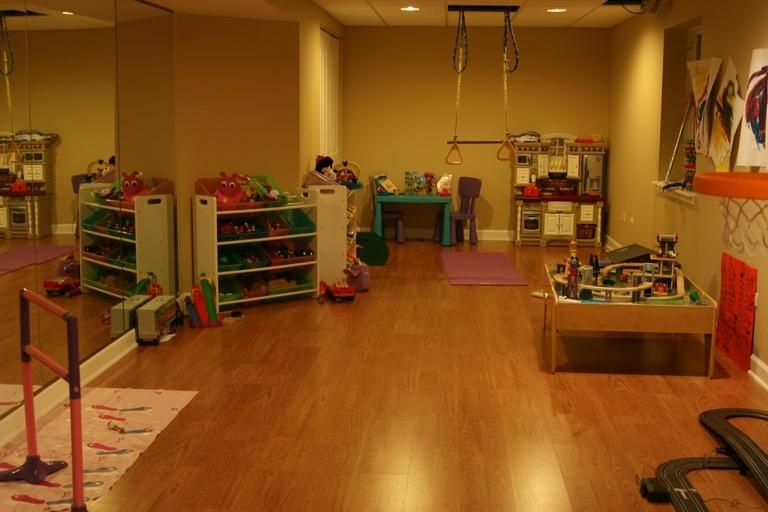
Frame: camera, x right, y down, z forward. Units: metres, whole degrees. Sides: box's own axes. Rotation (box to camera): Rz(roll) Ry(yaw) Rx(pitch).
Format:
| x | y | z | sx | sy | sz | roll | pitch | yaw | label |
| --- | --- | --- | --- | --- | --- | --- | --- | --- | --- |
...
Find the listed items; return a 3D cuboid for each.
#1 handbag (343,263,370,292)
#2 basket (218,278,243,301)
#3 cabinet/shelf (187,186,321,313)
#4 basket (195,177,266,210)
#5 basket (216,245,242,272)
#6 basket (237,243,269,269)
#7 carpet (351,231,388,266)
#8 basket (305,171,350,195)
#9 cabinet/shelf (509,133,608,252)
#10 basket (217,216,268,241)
| x | y | z | sx | sy | sz | roll | pitch | yaw | label |
| --- | --- | --- | --- | --- | --- | --- | --- | --- | --- |
| -0.344 | 0.261 | 7.191 | 0.310 | 0.312 | 0.296 | -4 | 11 | -3 | handbag |
| -1.736 | 0.368 | 6.465 | 0.267 | 0.205 | 0.351 | -5 | 16 | -20 | basket |
| -1.506 | -0.068 | 6.462 | 1.270 | 1.161 | 0.565 | -8 | 9 | -42 | cabinet/shelf |
| -1.728 | -0.685 | 6.273 | 0.465 | 0.161 | 0.484 | 11 | 19 | 26 | basket |
| -1.722 | 0.022 | 6.395 | 0.238 | 0.204 | 0.375 | -4 | 15 | -16 | basket |
| -1.466 | 0.011 | 6.548 | 0.340 | 0.189 | 0.381 | -3 | 15 | -13 | basket |
| -0.177 | -0.103 | 8.555 | 0.487 | 0.468 | 0.223 | -23 | 10 | -12 | carpet |
| -0.753 | -0.886 | 7.013 | 0.375 | 0.115 | 0.367 | 27 | 15 | 19 | basket |
| 3.019 | -1.097 | 9.741 | 1.853 | 2.308 | 0.730 | 0 | 6 | 4 | cabinet/shelf |
| -1.588 | -0.300 | 6.413 | 0.538 | 0.184 | 0.396 | -4 | 15 | -18 | basket |
